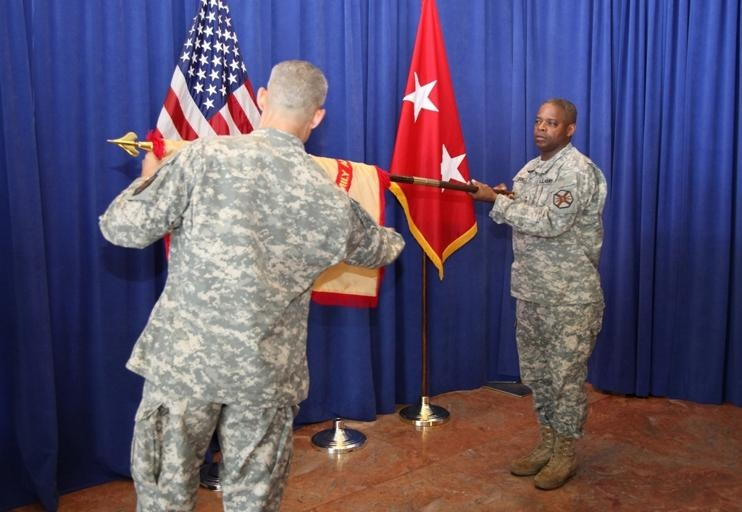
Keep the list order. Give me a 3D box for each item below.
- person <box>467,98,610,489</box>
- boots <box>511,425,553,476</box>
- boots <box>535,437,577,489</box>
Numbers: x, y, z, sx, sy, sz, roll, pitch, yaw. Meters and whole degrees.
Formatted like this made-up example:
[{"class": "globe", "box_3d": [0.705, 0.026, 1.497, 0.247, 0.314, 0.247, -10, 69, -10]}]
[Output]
[{"class": "person", "box_3d": [0.996, 0.303, 4.574, 0.564, 1.819, 0.582, 3, 9, 21]}, {"class": "boots", "box_3d": [0.943, 1.087, 4.633, 0.353, 0.252, 0.118, -4, 8, -22]}, {"class": "boots", "box_3d": [1.018, 1.116, 4.494, 0.173, 0.247, 0.262, 5, 11, 35]}]
